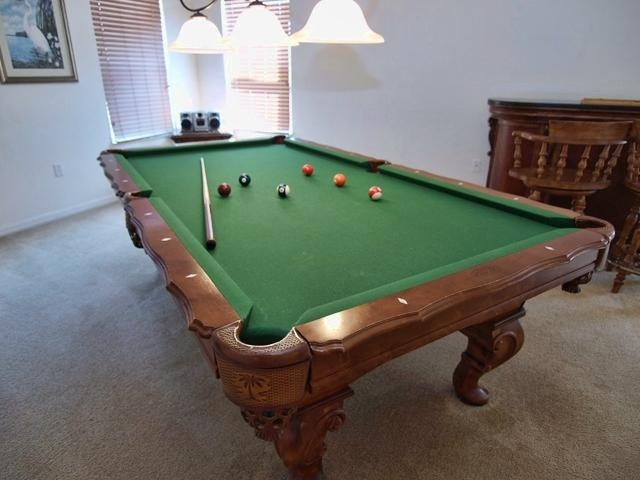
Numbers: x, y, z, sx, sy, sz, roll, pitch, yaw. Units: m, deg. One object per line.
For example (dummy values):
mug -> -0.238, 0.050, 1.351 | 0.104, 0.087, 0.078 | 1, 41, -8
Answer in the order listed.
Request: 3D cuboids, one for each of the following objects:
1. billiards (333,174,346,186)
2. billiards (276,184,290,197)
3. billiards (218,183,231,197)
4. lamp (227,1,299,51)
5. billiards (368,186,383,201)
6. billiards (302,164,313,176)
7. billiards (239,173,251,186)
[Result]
billiards -> 0.112, -0.369, 2.835 | 0.081, 0.080, 0.080 | 8, -3, -13
billiards -> -0.221, -0.286, 2.658 | 0.064, 0.076, 0.073 | 3, -17, -17
billiards -> -0.549, -0.302, 2.670 | 0.076, 0.087, 0.075 | 1, 19, 3
lamp -> -0.361, -1.290, 2.859 | 0.345, 0.183, 0.340 | 3, 21, 9
billiards -> 0.316, -0.278, 2.628 | 0.086, 0.082, 0.045 | 26, -19, -22
billiards -> -0.077, -0.466, 3.032 | 0.076, 0.074, 0.074 | 7, 3, 1
billiards -> -0.467, -0.380, 2.864 | 0.081, 0.092, 0.079 | -2, 9, -2
